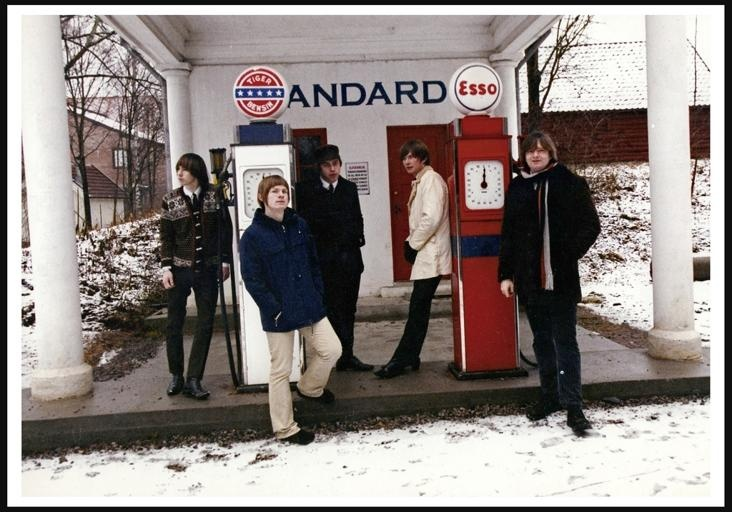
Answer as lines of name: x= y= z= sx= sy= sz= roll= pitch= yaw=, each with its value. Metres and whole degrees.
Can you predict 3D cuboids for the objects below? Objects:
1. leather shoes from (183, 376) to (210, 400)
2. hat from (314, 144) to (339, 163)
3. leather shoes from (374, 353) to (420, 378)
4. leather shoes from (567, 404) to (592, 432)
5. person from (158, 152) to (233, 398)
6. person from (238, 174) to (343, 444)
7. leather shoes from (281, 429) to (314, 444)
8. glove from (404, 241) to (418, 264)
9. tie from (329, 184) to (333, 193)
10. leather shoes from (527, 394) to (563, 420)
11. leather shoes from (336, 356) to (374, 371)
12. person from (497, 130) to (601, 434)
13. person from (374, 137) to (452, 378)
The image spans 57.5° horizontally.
leather shoes: x=-1.803 y=1.394 z=7.071 sx=0.311 sy=0.214 sz=0.118 roll=-1 pitch=4 yaw=31
hat: x=-0.445 y=-1.147 z=7.498 sx=0.262 sy=0.213 sz=0.168 roll=-4 pitch=4 yaw=-9
leather shoes: x=0.360 y=1.235 z=7.498 sx=0.541 sy=0.217 sz=0.203 roll=-5 pitch=3 yaw=-11
leather shoes: x=2.082 y=1.615 z=6.551 sx=0.143 sy=0.209 sz=0.293 roll=-10 pitch=-15 yaw=-8
person: x=-1.866 y=0.207 z=7.092 sx=0.641 sy=2.577 sz=0.355 roll=-4 pitch=3 yaw=-17
person: x=-0.760 y=0.526 z=6.647 sx=0.923 sy=2.657 sz=0.363 roll=-4 pitch=3 yaw=-12
leather shoes: x=-0.691 y=1.786 z=6.650 sx=0.331 sy=0.147 sz=0.137 roll=-4 pitch=4 yaw=0
glove: x=0.494 y=-0.051 z=7.332 sx=0.139 sy=0.260 sz=0.186 roll=-13 pitch=22 yaw=-34
tie: x=-0.405 y=-0.769 z=7.542 sx=0.064 sy=0.094 sz=0.024 roll=6 pitch=-7 yaw=-7
leather shoes: x=1.875 y=1.571 z=6.942 sx=0.440 sy=0.209 sz=0.166 roll=-8 pitch=2 yaw=-15
leather shoes: x=-0.137 y=1.219 z=7.735 sx=0.469 sy=0.208 sz=0.164 roll=-2 pitch=-1 yaw=1
person: x=1.845 y=0.237 z=6.720 sx=0.970 sy=2.998 sz=0.372 roll=-1 pitch=4 yaw=40
person: x=0.555 y=0.017 z=7.376 sx=0.779 sy=2.602 sz=0.337 roll=-3 pitch=3 yaw=6
